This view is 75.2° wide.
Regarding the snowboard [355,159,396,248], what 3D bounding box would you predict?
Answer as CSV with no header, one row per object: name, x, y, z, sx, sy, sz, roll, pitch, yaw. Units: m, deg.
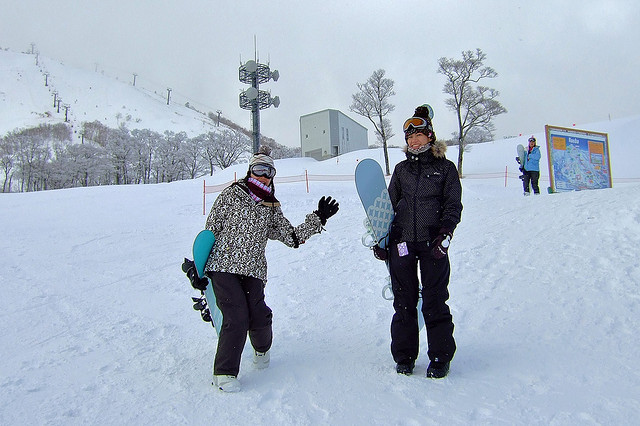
snowboard,0.684,-0.044,5.043,0.343,1.386,0.198,-15,34,2

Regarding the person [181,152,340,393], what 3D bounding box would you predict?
person,-0.741,0.560,4.794,1.454,2.412,0.883,-12,15,-38

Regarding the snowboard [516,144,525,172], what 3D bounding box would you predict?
snowboard,5.925,-1.704,12.233,0.135,1.081,0.250,4,19,23

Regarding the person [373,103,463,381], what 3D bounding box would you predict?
person,1.126,0.254,4.717,0.896,2.874,1.199,2,12,18
